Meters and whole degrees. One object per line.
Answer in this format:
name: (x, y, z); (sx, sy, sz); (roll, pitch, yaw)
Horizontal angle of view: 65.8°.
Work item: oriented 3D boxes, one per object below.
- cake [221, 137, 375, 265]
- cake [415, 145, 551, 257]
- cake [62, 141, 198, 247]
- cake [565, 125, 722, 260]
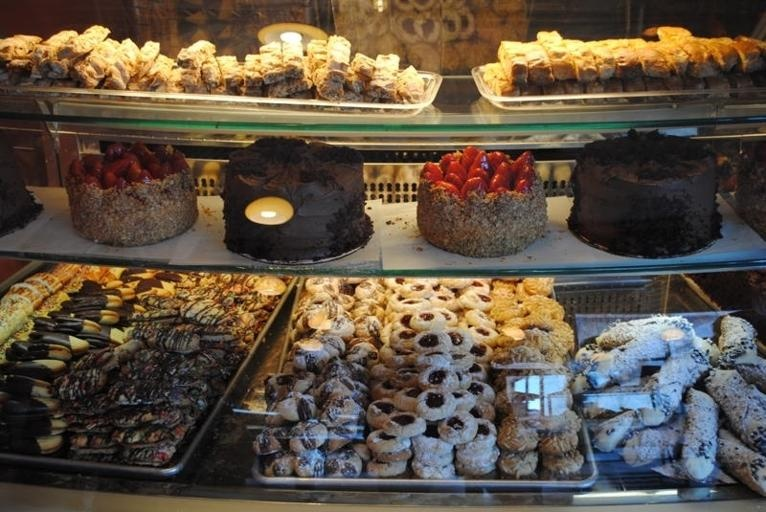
cake: (-0.313, -0.194, 2.229); (0.640, 0.296, 0.563); (-3, 14, 3)
cake: (0.400, -0.187, 2.128); (0.464, 0.229, 0.429); (-15, 25, -27)
cake: (-0.864, -0.268, 2.194); (0.466, 0.231, 0.417); (6, 17, 17)
cake: (1.014, -0.236, 2.208); (0.553, 0.255, 0.525); (-19, 21, -33)
